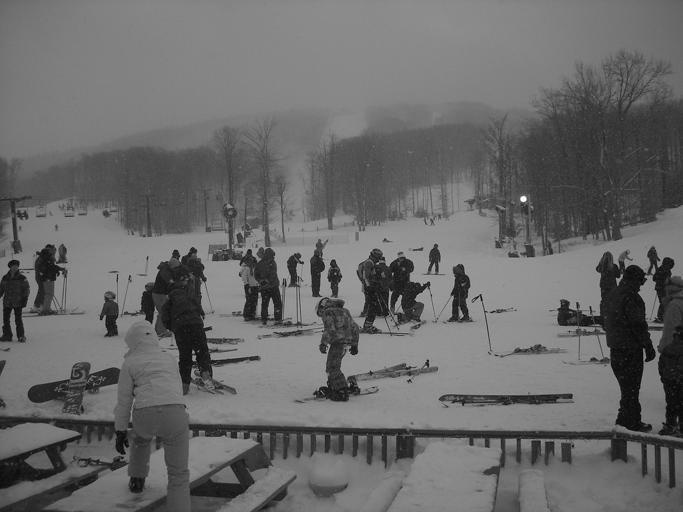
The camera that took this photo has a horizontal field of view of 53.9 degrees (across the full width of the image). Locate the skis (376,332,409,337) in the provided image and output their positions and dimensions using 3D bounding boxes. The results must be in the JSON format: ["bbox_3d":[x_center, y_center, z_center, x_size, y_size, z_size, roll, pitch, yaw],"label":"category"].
[{"bbox_3d":[1.277,1.983,16.913,0.803,0.020,0.253,-2,5,4],"label":"skis"}]

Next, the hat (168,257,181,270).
[{"bbox_3d":[-3.755,0.177,14.988,0.265,0.291,0.247,-5,12,-8],"label":"hat"}]

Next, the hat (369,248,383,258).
[{"bbox_3d":[0.897,-0.056,17.670,0.229,0.265,0.322,21,17,29],"label":"hat"}]

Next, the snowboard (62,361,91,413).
[{"bbox_3d":[-4.547,2.258,11.438,0.265,0.156,1.086,-4,35,1],"label":"snowboard"}]

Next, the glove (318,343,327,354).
[{"bbox_3d":[-0.314,1.578,11.391,0.173,0.190,0.135,-1,-6,-23],"label":"glove"}]

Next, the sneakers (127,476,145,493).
[{"bbox_3d":[-2.626,2.901,8.535,0.211,0.193,0.194,-2,-2,-14],"label":"sneakers"}]

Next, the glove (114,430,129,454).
[{"bbox_3d":[-2.829,2.397,8.628,0.132,0.336,0.215,-2,-2,-12],"label":"glove"}]

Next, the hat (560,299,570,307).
[{"bbox_3d":[5.951,1.268,17.855,0.270,0.226,0.196,12,-15,-43],"label":"hat"}]
